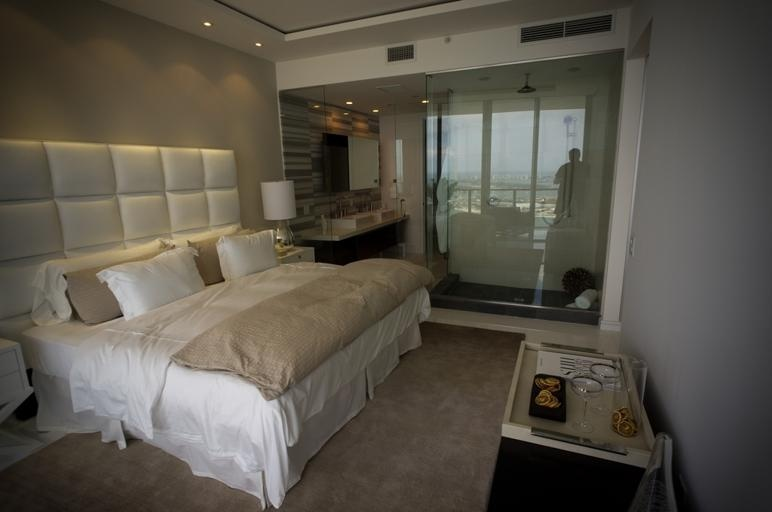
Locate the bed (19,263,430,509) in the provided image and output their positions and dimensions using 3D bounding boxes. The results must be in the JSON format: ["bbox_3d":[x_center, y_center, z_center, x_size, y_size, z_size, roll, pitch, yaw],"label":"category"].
[{"bbox_3d":[-1.309,0.934,3.933,2.840,1.107,1.658,1,12,4],"label":"bed"}]

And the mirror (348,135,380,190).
[{"bbox_3d":[-0.304,-1.459,7.801,0.025,0.785,1.094,4,12,26],"label":"mirror"}]

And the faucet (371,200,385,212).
[{"bbox_3d":[-0.136,-0.862,8.444,0.172,0.232,0.345,8,16,28],"label":"faucet"}]

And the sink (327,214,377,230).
[{"bbox_3d":[-0.460,-0.508,7.328,0.474,0.127,1.148,3,12,13],"label":"sink"}]

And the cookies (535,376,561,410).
[{"bbox_3d":[1.020,0.859,3.084,0.126,0.044,0.164,0,24,23],"label":"cookies"}]

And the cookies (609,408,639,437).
[{"bbox_3d":[1.392,0.983,2.884,0.138,0.055,0.103,-2,29,37],"label":"cookies"}]

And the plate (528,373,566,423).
[{"bbox_3d":[1.022,0.883,3.096,0.219,0.044,0.380,1,27,23],"label":"plate"}]

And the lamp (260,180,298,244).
[{"bbox_3d":[-1.231,-0.429,5.820,0.541,0.879,0.536,-6,12,-11],"label":"lamp"}]
